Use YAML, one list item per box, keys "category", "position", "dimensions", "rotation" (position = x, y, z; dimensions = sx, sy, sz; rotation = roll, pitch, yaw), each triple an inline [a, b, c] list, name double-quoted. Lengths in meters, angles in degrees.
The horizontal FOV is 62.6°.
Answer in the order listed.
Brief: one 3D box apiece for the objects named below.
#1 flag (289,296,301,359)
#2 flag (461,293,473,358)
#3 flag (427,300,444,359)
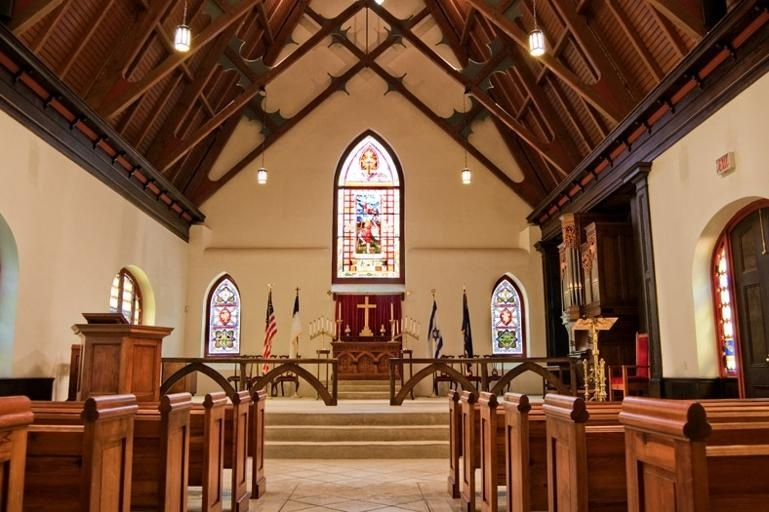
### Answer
- category: "flag"
  position: [-2.017, 1.488, 14.273]
  dimensions: [0.243, 1.567, 0.710]
  rotation: [1, -11, -8]
- category: "flag"
  position: [1.832, 1.492, 14.247]
  dimensions: [0.272, 1.548, 1.060]
  rotation: [-2, -11, 8]
- category: "flag"
  position: [1.123, 1.590, 14.225]
  dimensions: [0.321, 1.376, 0.891]
  rotation: [-2, -11, 5]
